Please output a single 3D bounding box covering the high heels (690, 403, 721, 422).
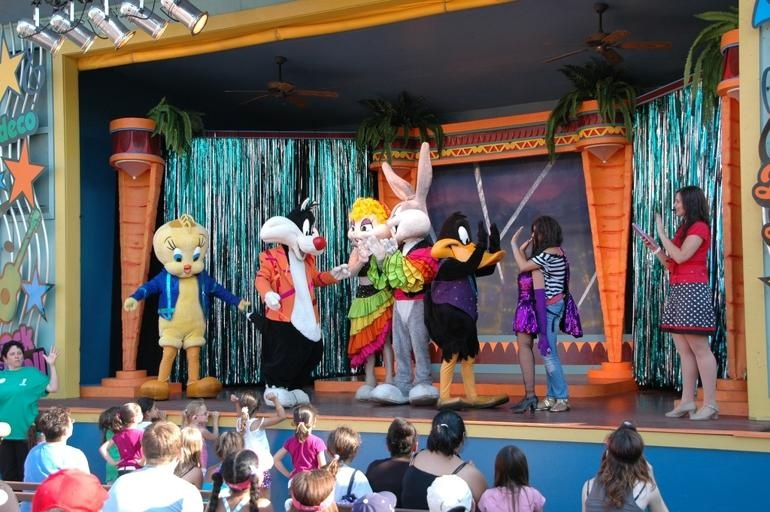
[{"bbox_3d":[2.666,1.326,7.901,0.229,0.094,0.118,0,-7,-5],"label":"high heels"}]

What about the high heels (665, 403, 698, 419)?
[{"bbox_3d":[2.518,1.314,8.039,0.310,0.146,0.109,1,-2,11],"label":"high heels"}]

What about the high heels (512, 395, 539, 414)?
[{"bbox_3d":[1.252,1.316,8.376,0.308,0.151,0.105,-4,-7,30],"label":"high heels"}]

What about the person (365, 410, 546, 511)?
[{"bbox_3d":[0.530,1.415,6.567,0.863,0.684,0.501,1,-9,-1],"label":"person"}]

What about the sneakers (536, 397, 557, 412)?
[{"bbox_3d":[1.424,1.335,8.484,0.206,0.091,0.078,0,-4,39],"label":"sneakers"}]

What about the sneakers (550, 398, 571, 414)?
[{"bbox_3d":[1.551,1.330,8.393,0.208,0.087,0.073,12,-14,-40],"label":"sneakers"}]
